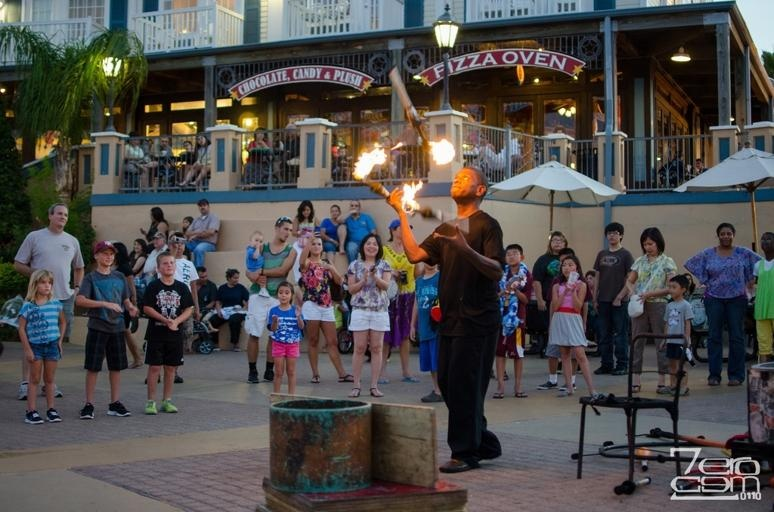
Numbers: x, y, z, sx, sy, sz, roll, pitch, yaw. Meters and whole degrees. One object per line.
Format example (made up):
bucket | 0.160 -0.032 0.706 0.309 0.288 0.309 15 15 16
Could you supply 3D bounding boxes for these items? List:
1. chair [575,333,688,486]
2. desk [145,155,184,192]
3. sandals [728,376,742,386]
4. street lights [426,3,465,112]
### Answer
chair | 2.743 1.748 9.563 1.148 1.730 1.237 -1 -1 -10
desk | -5.910 -2.168 22.439 0.990 1.072 0.824 3 -1 14
sandals | 5.562 2.015 13.635 0.102 0.102 0.237 3 10 29
street lights | 1.352 -4.612 18.683 0.805 3.210 0.864 1 -4 -34
